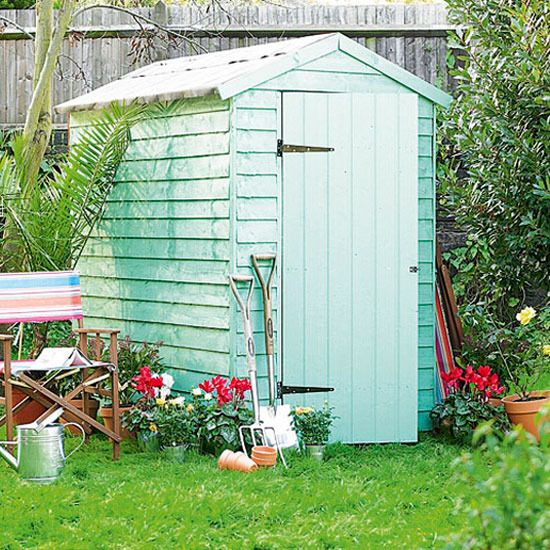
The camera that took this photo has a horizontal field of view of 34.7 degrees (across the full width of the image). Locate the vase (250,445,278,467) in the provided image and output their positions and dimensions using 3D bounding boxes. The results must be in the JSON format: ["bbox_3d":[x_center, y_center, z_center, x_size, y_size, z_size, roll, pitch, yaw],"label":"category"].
[{"bbox_3d":[-0.055,1.063,5.179,0.116,0.085,0.121,1,0,-9],"label":"vase"}]

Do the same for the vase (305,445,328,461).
[{"bbox_3d":[0.258,1.106,5.525,0.097,0.078,0.101,-1,-1,44],"label":"vase"}]

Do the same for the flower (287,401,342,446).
[{"bbox_3d":[0.258,0.959,5.652,0.312,0.315,0.243,0,-4,-11],"label":"flower"}]

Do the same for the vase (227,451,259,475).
[{"bbox_3d":[-0.190,1.090,5.096,0.110,0.115,0.153,-16,26,-41],"label":"vase"}]

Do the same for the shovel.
[{"bbox_3d":[0.004,0.561,5.529,0.284,1.603,0.108,-15,34,-15],"label":"shovel"}]

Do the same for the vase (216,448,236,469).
[{"bbox_3d":[-0.283,1.082,5.198,0.033,0.099,0.087,12,0,14],"label":"vase"}]

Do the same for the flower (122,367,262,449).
[{"bbox_3d":[-0.566,0.879,5.657,0.894,0.483,0.395,4,11,24],"label":"flower"}]
